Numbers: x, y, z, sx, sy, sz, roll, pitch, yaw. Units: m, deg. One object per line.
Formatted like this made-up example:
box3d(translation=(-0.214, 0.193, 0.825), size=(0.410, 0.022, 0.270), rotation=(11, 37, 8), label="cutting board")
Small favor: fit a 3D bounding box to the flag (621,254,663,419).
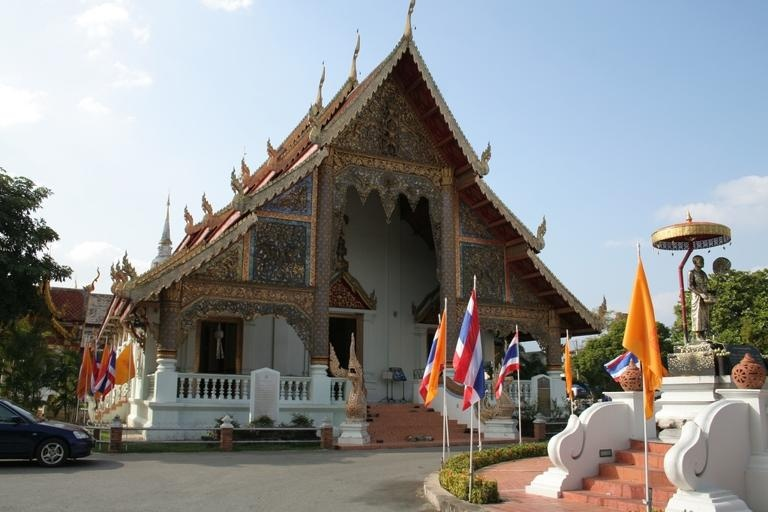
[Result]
box3d(translation=(4.548, 1.455, 12.759), size=(0.536, 2.713, 0.754), rotation=(-9, -16, 26), label="flag")
